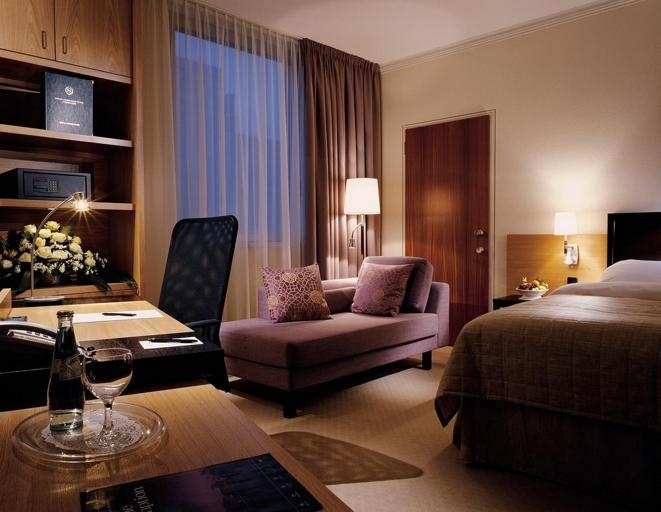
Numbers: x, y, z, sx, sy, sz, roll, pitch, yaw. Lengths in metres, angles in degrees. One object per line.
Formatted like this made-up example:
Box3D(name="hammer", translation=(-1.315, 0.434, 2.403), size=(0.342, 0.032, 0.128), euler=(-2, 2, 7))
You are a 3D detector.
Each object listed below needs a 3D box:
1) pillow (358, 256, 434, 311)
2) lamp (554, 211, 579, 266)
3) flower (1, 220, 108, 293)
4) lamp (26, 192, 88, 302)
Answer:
Box3D(name="pillow", translation=(0.713, 0.260, 4.055), size=(0.495, 0.560, 0.209), euler=(5, -2, 30))
Box3D(name="lamp", translation=(2.128, -0.130, 4.129), size=(0.190, 0.492, 0.180), euler=(-1, 0, 8))
Box3D(name="flower", translation=(-1.820, 0.019, 3.052), size=(0.493, 0.343, 0.525), euler=(3, -1, 12))
Box3D(name="lamp", translation=(-1.701, -0.074, 2.875), size=(0.350, 0.674, 0.986), euler=(-2, 3, -30))
